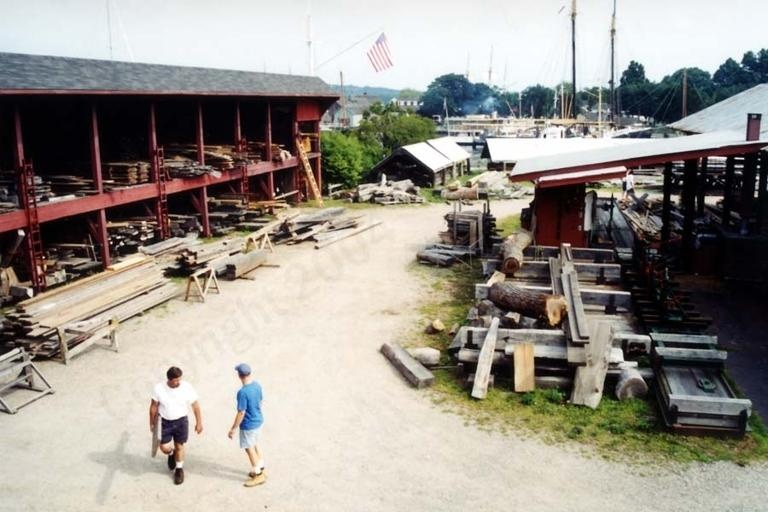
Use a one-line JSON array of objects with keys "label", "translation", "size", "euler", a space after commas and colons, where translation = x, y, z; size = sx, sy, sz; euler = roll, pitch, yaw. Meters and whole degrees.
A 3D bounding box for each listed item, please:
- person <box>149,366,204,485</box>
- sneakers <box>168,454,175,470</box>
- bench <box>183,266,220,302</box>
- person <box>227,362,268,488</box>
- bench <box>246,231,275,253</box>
[{"label": "person", "translation": [-4.423, 3.542, 11.778], "size": [1.075, 2.471, 0.880], "euler": [-6, 15, -8]}, {"label": "sneakers", "translation": [-4.593, 4.489, 12.002], "size": [0.133, 0.370, 0.155], "euler": [-2, -7, 1]}, {"label": "bench", "translation": [-6.621, 1.050, 20.799], "size": [1.394, 0.883, 0.488], "euler": [-16, 14, 32]}, {"label": "person", "translation": [-2.885, 3.582, 11.701], "size": [0.613, 2.520, 0.742], "euler": [-2, 15, 6]}, {"label": "bench", "translation": [-5.660, -0.574, 25.458], "size": [0.784, 0.942, 1.757], "euler": [0, 9, 18]}]
